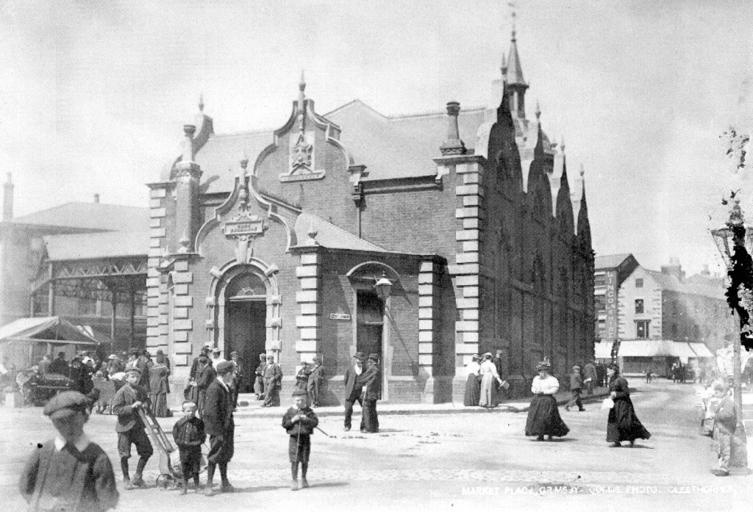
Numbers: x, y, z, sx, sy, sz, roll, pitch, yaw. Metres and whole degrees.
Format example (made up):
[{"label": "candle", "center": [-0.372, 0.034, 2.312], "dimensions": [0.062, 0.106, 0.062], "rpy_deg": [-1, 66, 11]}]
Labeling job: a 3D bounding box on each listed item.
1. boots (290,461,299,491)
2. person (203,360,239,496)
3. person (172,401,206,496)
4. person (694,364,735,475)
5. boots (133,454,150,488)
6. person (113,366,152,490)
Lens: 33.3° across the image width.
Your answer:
[{"label": "boots", "center": [-2.139, 5.867, 33.098], "dimensions": [0.196, 0.724, 0.400], "rpy_deg": [1, -11, -5]}, {"label": "person", "center": [-4.143, 4.512, 33.248], "dimensions": [0.875, 3.350, 1.114], "rpy_deg": [0, -1, 18]}, {"label": "person", "center": [-4.898, 5.086, 32.886], "dimensions": [0.825, 2.361, 1.048], "rpy_deg": [2, -11, -8]}, {"label": "person", "center": [9.998, 4.977, 36.665], "dimensions": [1.057, 3.156, 1.329], "rpy_deg": [2, -3, 11]}, {"label": "boots", "center": [-6.279, 5.787, 33.482], "dimensions": [0.363, 0.833, 0.485], "rpy_deg": [2, -11, -11]}, {"label": "person", "center": [-6.482, 4.617, 33.623], "dimensions": [1.208, 3.201, 1.022], "rpy_deg": [0, -2, -44]}]
